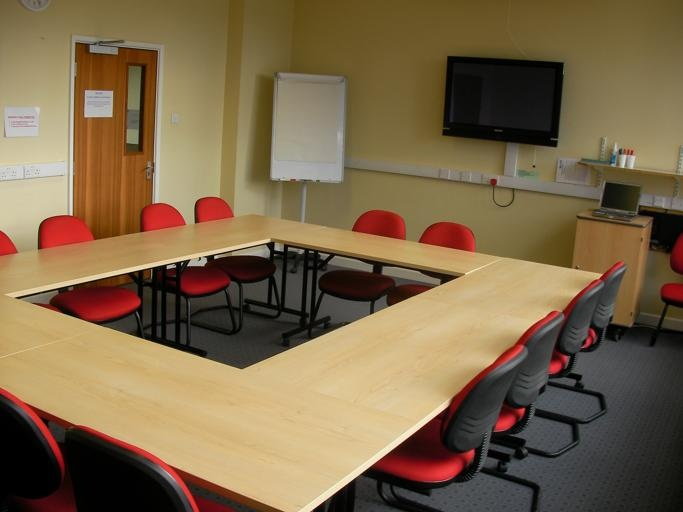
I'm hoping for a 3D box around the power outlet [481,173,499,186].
[{"bbox_3d":[1.827,-0.962,6.096,0.202,0.139,0.053,11,8,32],"label":"power outlet"}]

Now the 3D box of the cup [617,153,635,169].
[{"bbox_3d":[3.120,-1.049,5.353,0.152,0.151,0.131,10,17,28],"label":"cup"}]

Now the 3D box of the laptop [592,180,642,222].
[{"bbox_3d":[2.954,-0.592,5.211,0.394,0.306,0.367,16,28,38],"label":"laptop"}]

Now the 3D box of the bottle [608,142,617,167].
[{"bbox_3d":[3.058,-1.155,5.479,0.086,0.226,0.169,9,17,27],"label":"bottle"}]

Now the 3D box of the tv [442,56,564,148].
[{"bbox_3d":[1.893,-1.867,5.820,1.349,0.985,0.149,9,17,25],"label":"tv"}]

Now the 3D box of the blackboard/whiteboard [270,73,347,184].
[{"bbox_3d":[-0.449,-1.724,6.513,1.348,1.873,0.141,2,5,-9],"label":"blackboard/whiteboard"}]
